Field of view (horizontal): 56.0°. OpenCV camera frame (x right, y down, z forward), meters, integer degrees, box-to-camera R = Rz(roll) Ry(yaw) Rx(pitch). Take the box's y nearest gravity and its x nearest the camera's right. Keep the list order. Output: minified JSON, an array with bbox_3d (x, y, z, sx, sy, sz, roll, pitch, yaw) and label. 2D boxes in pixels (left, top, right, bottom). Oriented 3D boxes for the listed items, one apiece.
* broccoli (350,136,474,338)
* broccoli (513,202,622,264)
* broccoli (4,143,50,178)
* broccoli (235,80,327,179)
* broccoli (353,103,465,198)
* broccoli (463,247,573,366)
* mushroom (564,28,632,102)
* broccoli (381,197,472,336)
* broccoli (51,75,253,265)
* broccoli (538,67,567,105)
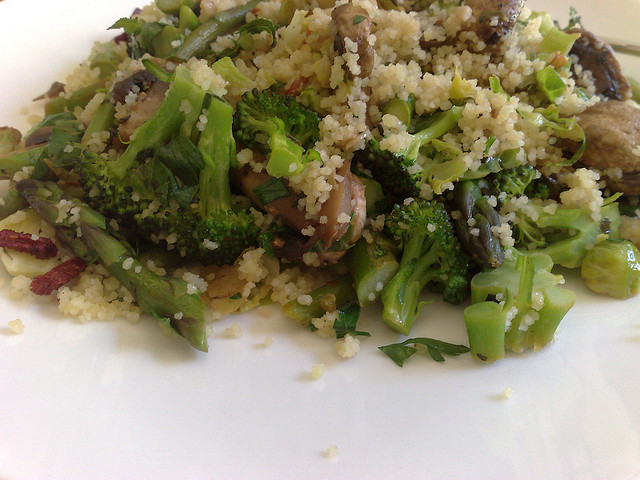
[{"bbox_3d":[0.269,-0.020,1.963,0.420,0.577,0.283,1,4,-12],"label":"broccoli"},{"bbox_3d":[0.829,-0.051,2.037,0.254,0.084,0.418,-7,-16,26],"label":"broccoli"},{"bbox_3d":[-0.954,-0.263,1.961,0.143,0.061,0.056,-34,34,-20],"label":"broccoli"},{"bbox_3d":[-0.109,-0.324,1.887,0.282,0.273,0.255,8,0,45],"label":"broccoli"},{"bbox_3d":[0.311,-0.308,1.880,0.372,0.176,0.237,-39,2,-2],"label":"broccoli"},{"bbox_3d":[0.610,0.182,1.840,0.326,0.189,0.445,6,28,31],"label":"broccoli"},{"bbox_3d":[0.957,-0.602,2.184,0.212,0.273,0.065,-41,9,-34],"label":"mushroom"},{"bbox_3d":[0.326,0.083,1.827,0.313,0.246,0.223,-59,15,-24],"label":"broccoli"},{"bbox_3d":[-0.488,-0.172,1.842,0.564,0.550,0.265,-10,34,17],"label":"broccoli"},{"bbox_3d":[0.742,-0.498,1.928,0.072,0.103,0.053,-29,33,-12],"label":"broccoli"}]
